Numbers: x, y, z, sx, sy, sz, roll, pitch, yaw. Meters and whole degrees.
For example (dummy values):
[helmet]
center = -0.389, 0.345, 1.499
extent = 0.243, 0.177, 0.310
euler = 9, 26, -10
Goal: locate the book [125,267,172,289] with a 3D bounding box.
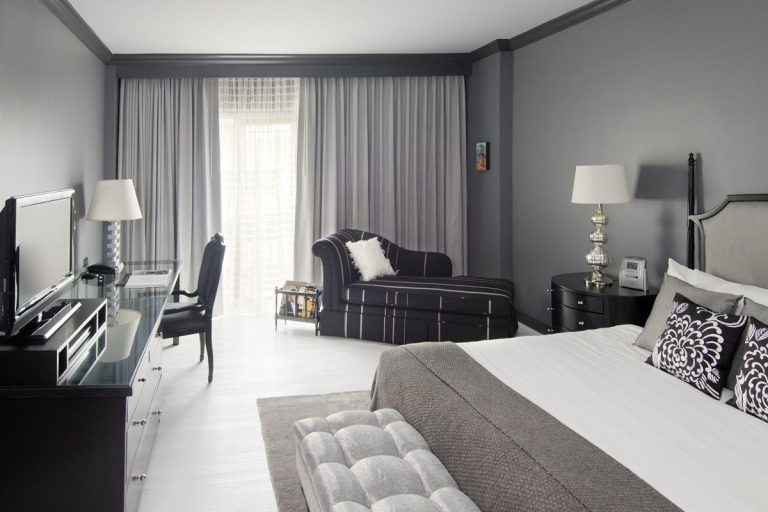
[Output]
[book]
center = -1.925, 0.192, 4.143
extent = 0.217, 0.061, 0.245
euler = 1, 7, -2

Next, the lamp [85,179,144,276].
[lamp]
center = -2.601, -0.293, 4.857
extent = 0.429, 0.923, 0.450
euler = 6, 14, -14

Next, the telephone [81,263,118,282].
[telephone]
center = -2.478, 0.151, 4.400
extent = 0.220, 0.063, 0.224
euler = 7, 11, 9

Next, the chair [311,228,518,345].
[chair]
center = 0.327, 0.324, 5.369
extent = 1.816, 1.111, 1.206
euler = -1, 2, 6

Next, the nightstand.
[nightstand]
center = 1.689, 0.251, 3.953
extent = 0.418, 0.658, 0.675
euler = -1, 4, -11
